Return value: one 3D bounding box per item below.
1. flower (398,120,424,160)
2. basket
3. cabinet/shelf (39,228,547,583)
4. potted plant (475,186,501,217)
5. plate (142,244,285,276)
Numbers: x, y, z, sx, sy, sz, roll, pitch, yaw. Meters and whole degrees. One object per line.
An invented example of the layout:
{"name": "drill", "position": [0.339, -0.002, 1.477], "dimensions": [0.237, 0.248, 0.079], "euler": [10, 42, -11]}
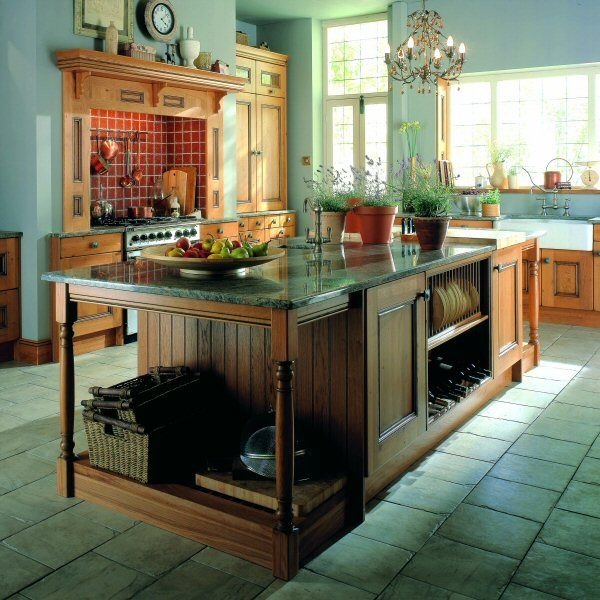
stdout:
{"name": "flower", "position": [1.290, -1.928, 6.908], "dimensions": [0.245, 0.456, 0.159], "euler": [-6, 9, -43]}
{"name": "basket", "position": [-0.587, 0.490, 2.400], "dimensions": [0.346, 0.329, 0.479], "euler": [1, 2, 28]}
{"name": "cabinet/shelf", "position": [0.154, 0.250, 2.729], "dimensions": [1.117, 1.035, 2.143], "euler": [6, 9, 40]}
{"name": "potted plant", "position": [2.016, -1.041, 6.203], "dimensions": [0.285, 0.319, 0.350], "euler": [-1, 1, 0]}
{"name": "plate", "position": [-0.347, -0.145, 2.212], "dimensions": [0.550, 0.092, 0.418], "euler": [1, 7, 5]}
